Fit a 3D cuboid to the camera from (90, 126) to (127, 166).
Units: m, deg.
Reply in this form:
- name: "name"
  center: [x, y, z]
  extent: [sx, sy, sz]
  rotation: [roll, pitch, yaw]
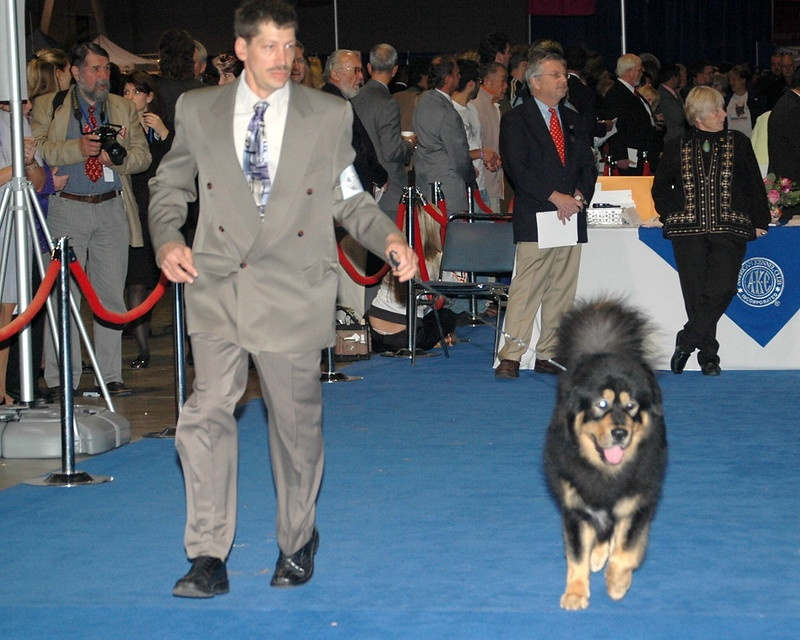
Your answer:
- name: "camera"
  center: [-2.001, -1.200, 6.285]
  extent: [0.213, 0.276, 0.365]
  rotation: [-4, 9, -20]

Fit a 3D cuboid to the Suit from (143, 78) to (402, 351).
- name: "Suit"
  center: [-0.488, -0.389, 3.454]
  extent: [0.938, 1.012, 0.273]
  rotation: [0, 9, 2]

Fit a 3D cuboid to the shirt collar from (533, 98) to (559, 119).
- name: "shirt collar"
  center: [1.170, -1.670, 7.380]
  extent: [0.153, 0.191, 0.134]
  rotation: [0, -4, -26]

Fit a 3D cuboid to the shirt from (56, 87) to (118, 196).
- name: "shirt"
  center: [-2.286, -1.258, 6.660]
  extent: [0.472, 0.767, 0.312]
  rotation: [0, -1, -36]

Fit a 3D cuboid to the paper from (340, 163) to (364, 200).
- name: "paper"
  center: [-0.188, -0.528, 3.522]
  extent: [0.083, 0.127, 0.047]
  rotation: [-17, 18, -12]

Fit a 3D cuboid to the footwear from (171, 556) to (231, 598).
- name: "footwear"
  center: [-0.763, 0.994, 3.527]
  extent: [0.117, 0.140, 0.249]
  rotation: [-2, -14, 29]

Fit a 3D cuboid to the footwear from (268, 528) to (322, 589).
- name: "footwear"
  center: [-0.425, 0.979, 3.733]
  extent: [0.099, 0.124, 0.300]
  rotation: [0, 8, 10]

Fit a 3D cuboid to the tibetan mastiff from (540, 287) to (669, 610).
- name: "tibetan mastiff"
  center: [0.827, 0.560, 3.704]
  extent: [0.493, 1.106, 0.679]
  rotation: [1, 9, 9]

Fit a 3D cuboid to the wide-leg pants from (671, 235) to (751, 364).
- name: "wide-leg pants"
  center: [2.496, -0.146, 7.497]
  extent: [0.548, 1.104, 0.262]
  rotation: [3, 10, 23]
